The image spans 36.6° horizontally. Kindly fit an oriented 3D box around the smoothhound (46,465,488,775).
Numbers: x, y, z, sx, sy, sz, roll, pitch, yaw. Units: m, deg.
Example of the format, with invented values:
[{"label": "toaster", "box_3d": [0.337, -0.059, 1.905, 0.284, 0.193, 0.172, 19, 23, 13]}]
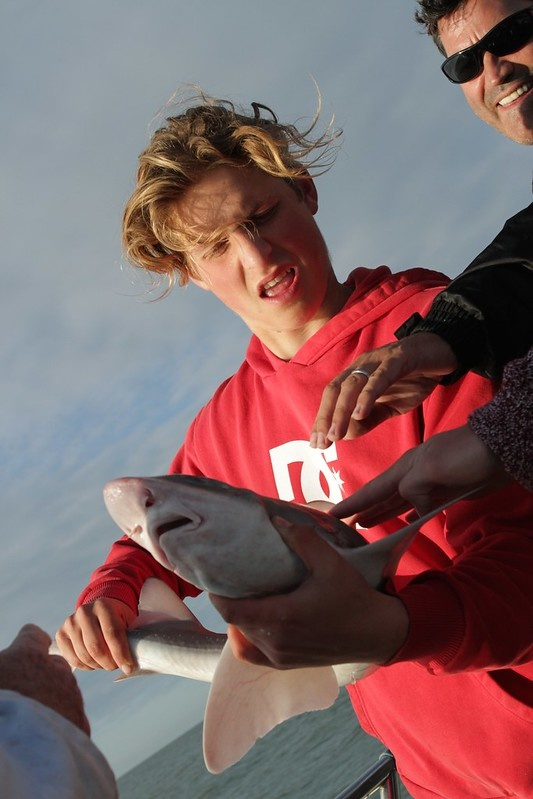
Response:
[{"label": "smoothhound", "box_3d": [0.000, 0.338, 1.420, 0.722, 0.359, 0.804, -9, -27, 0]}]
